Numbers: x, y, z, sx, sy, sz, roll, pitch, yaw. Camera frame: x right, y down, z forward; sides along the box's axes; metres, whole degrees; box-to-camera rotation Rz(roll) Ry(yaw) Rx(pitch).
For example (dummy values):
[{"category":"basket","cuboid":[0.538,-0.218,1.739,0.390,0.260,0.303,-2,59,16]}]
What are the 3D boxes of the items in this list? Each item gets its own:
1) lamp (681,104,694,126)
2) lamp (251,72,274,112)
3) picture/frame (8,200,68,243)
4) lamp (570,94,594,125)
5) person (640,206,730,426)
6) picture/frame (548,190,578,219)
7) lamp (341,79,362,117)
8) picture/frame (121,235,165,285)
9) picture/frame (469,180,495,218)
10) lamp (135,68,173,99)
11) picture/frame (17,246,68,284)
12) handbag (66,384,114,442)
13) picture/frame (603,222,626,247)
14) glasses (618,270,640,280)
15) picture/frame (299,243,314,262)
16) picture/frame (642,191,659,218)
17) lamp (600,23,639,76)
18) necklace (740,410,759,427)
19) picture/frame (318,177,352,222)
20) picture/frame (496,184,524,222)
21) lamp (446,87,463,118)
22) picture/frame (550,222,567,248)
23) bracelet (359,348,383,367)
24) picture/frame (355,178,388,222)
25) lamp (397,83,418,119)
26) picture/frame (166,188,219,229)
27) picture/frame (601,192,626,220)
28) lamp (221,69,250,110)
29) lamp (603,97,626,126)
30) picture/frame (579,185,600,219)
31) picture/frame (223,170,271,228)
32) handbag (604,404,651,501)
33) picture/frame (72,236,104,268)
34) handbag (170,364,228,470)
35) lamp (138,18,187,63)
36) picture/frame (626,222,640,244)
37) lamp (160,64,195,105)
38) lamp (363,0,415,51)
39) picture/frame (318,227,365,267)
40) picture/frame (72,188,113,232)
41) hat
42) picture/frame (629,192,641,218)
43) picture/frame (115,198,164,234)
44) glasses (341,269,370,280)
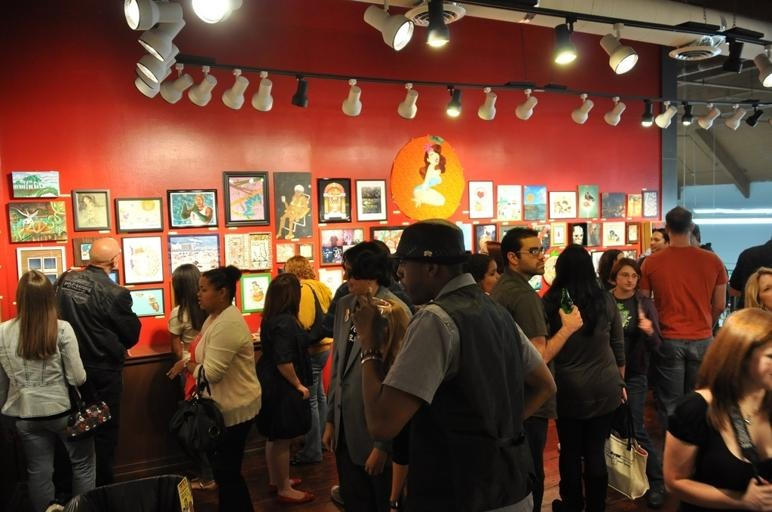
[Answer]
[{"category":"lamp","cuboid":[4.278,-2.010,8.368,0.124,0.318,0.437,0,1,26]},{"category":"lamp","cuboid":[-1.443,-1.875,6.810,0.277,0.295,0.409,-16,-17,-29]},{"category":"picture/frame","cuboid":[-3.794,-0.375,6.314,0.434,0.374,0.047,-2,3,-26]},{"category":"lamp","cuboid":[2.797,-2.103,8.442,0.297,0.266,0.475,-4,-5,0]},{"category":"person","cuboid":[3.153,0.838,6.371,0.819,2.706,0.767,-3,9,11]},{"category":"picture/frame","cuboid":[2.593,-0.761,8.711,0.425,0.393,0.041,-1,1,-28]},{"category":"lamp","cuboid":[-0.399,-1.889,7.049,0.228,0.239,0.409,6,-47,-11]},{"category":"picture/frame","cuboid":[-2.818,0.041,6.699,0.526,0.703,0.088,-3,-1,-28]},{"category":"picture/frame","cuboid":[1.312,-0.795,8.210,0.519,0.705,0.065,1,-2,-27]},{"category":"lamp","cuboid":[-2.477,-1.813,6.198,0.247,0.241,0.322,39,12,28]},{"category":"picture/frame","cuboid":[-3.611,0.089,6.095,0.308,0.355,0.024,-19,8,-25]},{"category":"handbag","cuboid":[-2.750,1.415,5.453,0.422,0.568,0.167,-14,-27,-26]},{"category":"picture/frame","cuboid":[3.495,-0.330,9.045,0.367,0.366,0.052,0,-1,-22]},{"category":"glasses","cuboid":[2.369,0.179,5.778,0.114,0.041,0.120,4,-34,7]},{"category":"picture/frame","cuboid":[-0.996,-0.048,7.182,0.229,0.271,0.018,0,1,-19]},{"category":"picture/frame","cuboid":[4.197,-0.823,9.368,0.406,0.544,0.058,2,-4,-24]},{"category":"lamp","cuboid":[2.606,-2.339,6.594,0.335,0.597,0.533,-1,1,20]},{"category":"necklace","cuboid":[2.344,1.045,3.800,0.055,0.098,0.024,-32,4,17]},{"category":"picture/frame","cuboid":[-0.688,-0.722,7.469,0.544,0.674,0.048,-1,0,-27]},{"category":"picture/frame","cuboid":[1.736,-0.756,8.368,0.507,0.659,0.026,2,-2,-24]},{"category":"lamp","cuboid":[0.855,-1.947,7.403,0.152,0.358,0.278,-1,1,11]},{"category":"picture/frame","cuboid":[2.529,-0.310,8.658,0.353,0.479,0.041,1,0,-26]},{"category":"bracelet","cuboid":[-0.097,0.610,3.658,0.122,0.126,0.087,-3,43,16]},{"category":"picture/frame","cuboid":[-0.224,-0.721,7.649,0.556,0.695,0.026,-1,-1,-29]},{"category":"lamp","cuboid":[0.249,-1.963,7.471,0.225,0.426,0.413,3,-29,-8]},{"category":"picture/frame","cuboid":[-2.309,-0.553,6.872,0.459,0.400,0.031,-2,1,-26]},{"category":"picture/frame","cuboid":[3.488,-0.773,9.073,0.411,0.419,0.030,-3,-2,-29]},{"category":"lamp","cuboid":[-1.692,-1.854,6.547,0.216,0.343,0.359,-1,1,-28]},{"category":"lamp","cuboid":[3.414,-2.111,8.727,0.238,0.408,1.055,0,1,25]},{"category":"picture/frame","cuboid":[3.080,-0.815,8.918,0.419,0.502,0.064,-1,1,-30]},{"category":"picture/frame","cuboid":[-1.721,-0.692,7.080,0.657,0.789,0.055,-2,3,-28]},{"category":"handbag","cuboid":[2.169,1.754,5.418,0.266,0.795,0.593,-8,10,-27]},{"category":"picture/frame","cuboid":[-3.193,-0.036,6.236,0.319,0.379,0.031,-3,1,-40]},{"category":"handbag","cuboid":[-1.631,1.366,5.092,0.379,0.764,0.583,8,-9,-34]},{"category":"lamp","cuboid":[-2.152,-1.987,5.503,0.288,0.292,0.209,12,-37,-19]},{"category":"picture/frame","cuboid":[3.839,-0.356,9.166,0.332,0.465,0.047,1,-3,-18]},{"category":"lamp","cuboid":[-2.313,-1.864,6.446,0.294,0.344,0.248,-26,-28,13]},{"category":"lamp","cuboid":[0.022,-2.262,5.742,0.485,0.327,0.221,0,1,43]},{"category":"picture/frame","cuboid":[-0.567,-0.101,6.746,0.497,0.413,0.034,-1,-4,-27]},{"category":"picture/frame","cuboid":[-3.287,-0.509,6.492,0.448,0.598,0.060,-2,1,-28]},{"category":"hat","cuboid":[0.304,-0.072,3.977,0.634,0.295,0.742,5,-9,2]},{"category":"picture/frame","cuboid":[3.910,-0.787,9.250,0.305,0.379,0.057,-1,1,-33]},{"category":"picture/frame","cuboid":[-2.845,-0.461,6.668,0.388,0.344,0.027,-2,-1,-25]},{"category":"glasses","cuboid":[-0.234,0.154,4.702,0.151,0.058,0.116,4,-4,-7]}]
